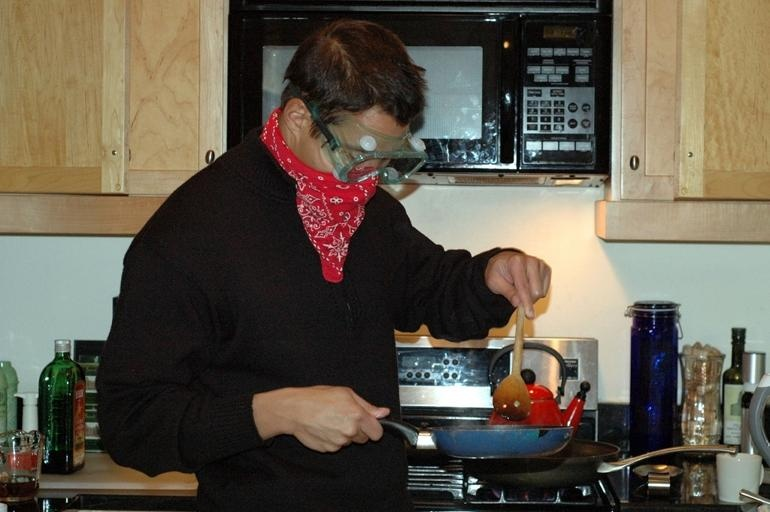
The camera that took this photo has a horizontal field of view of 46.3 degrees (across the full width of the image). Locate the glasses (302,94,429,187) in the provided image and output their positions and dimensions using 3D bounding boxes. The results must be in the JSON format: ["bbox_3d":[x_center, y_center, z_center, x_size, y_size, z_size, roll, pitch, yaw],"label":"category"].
[{"bbox_3d":[-0.047,-0.264,2.037,0.263,0.190,0.079,-1,0,-10],"label":"glasses"}]

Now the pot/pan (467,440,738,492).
[{"bbox_3d":[0.519,0.564,2.426,0.505,0.071,0.273,-1,-7,8],"label":"pot/pan"}]

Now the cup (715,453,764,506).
[{"bbox_3d":[0.960,0.608,2.447,0.143,0.116,0.108,4,-6,-26],"label":"cup"}]

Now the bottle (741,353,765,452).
[{"bbox_3d":[1.103,0.428,2.686,0.071,0.290,0.186,-1,0,21],"label":"bottle"}]

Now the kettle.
[{"bbox_3d":[0.441,0.407,2.601,0.326,0.301,0.221,3,4,1],"label":"kettle"}]

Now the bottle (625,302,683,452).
[{"bbox_3d":[0.836,0.371,2.796,0.154,0.462,0.169,-1,0,0],"label":"bottle"}]
